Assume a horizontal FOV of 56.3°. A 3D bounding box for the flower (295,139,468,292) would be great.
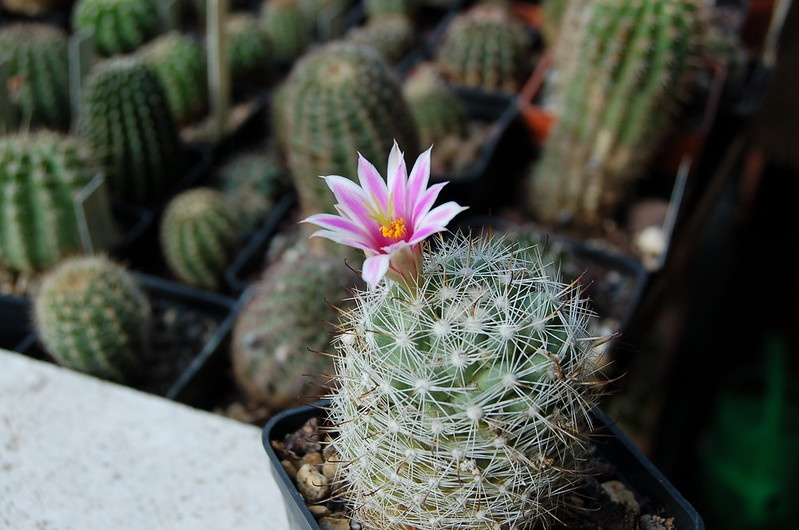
[{"bbox_3d":[-0.033,-0.039,1.096,0.193,0.238,0.171,-18,44,-22],"label":"flower"}]
